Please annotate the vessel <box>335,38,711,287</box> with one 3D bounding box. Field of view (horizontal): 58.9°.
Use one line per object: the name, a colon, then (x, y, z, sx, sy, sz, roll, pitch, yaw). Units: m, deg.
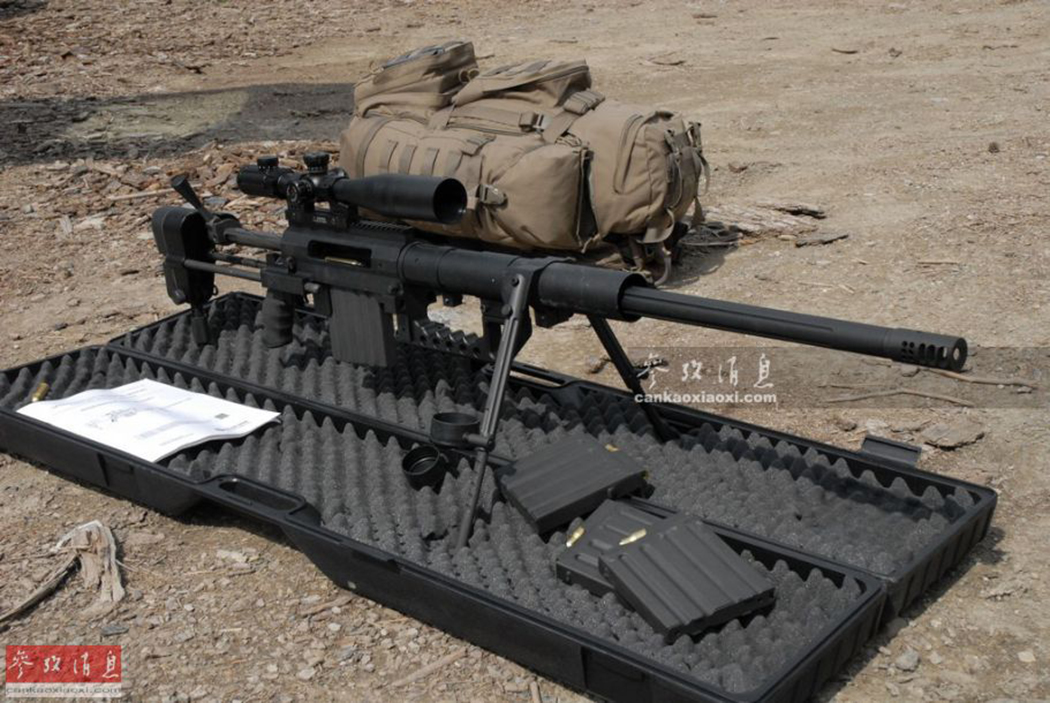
vessel: (-0.170, -2.025, 9.249, 3.628, 1.518, 2.267, 19, 34, 22)
